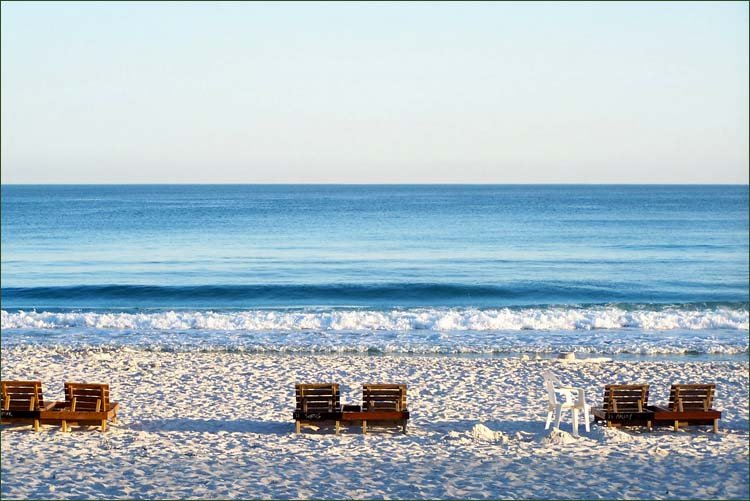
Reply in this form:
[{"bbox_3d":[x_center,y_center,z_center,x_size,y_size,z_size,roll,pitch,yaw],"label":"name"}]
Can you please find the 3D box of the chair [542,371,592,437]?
[{"bbox_3d":[7.074,5.561,48.401,2.012,1.959,1.845,9,6,36],"label":"chair"}]
